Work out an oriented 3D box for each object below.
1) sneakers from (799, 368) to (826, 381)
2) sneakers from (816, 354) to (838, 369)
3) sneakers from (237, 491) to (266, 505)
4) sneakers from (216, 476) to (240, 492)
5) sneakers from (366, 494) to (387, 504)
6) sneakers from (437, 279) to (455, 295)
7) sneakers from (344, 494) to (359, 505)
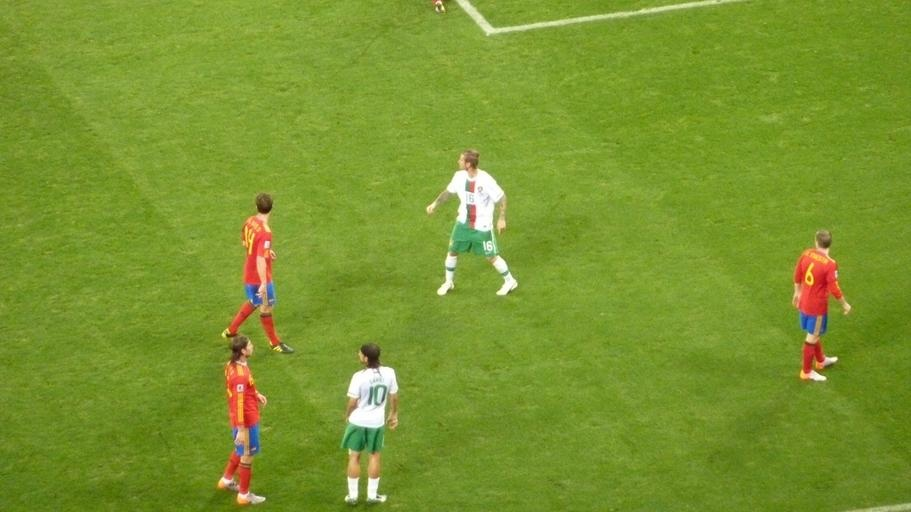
[{"bbox_3d":[7.501,2.515,25.983,0.465,0.159,0.227,-1,14,5],"label":"sneakers"},{"bbox_3d":[7.817,2.256,26.145,0.597,0.201,0.181,-13,39,-1],"label":"sneakers"},{"bbox_3d":[-3.972,4.685,24.004,0.600,0.208,0.194,2,28,-14],"label":"sneakers"},{"bbox_3d":[-4.418,4.464,24.135,0.477,0.165,0.209,8,16,-18],"label":"sneakers"},{"bbox_3d":[-1.524,4.704,24.063,0.395,0.137,0.147,-5,19,-13],"label":"sneakers"},{"bbox_3d":[-0.226,0.777,27.596,0.481,0.186,0.176,-40,85,-26],"label":"sneakers"},{"bbox_3d":[-2.013,4.736,24.071,0.244,0.140,0.143,3,10,17],"label":"sneakers"}]
